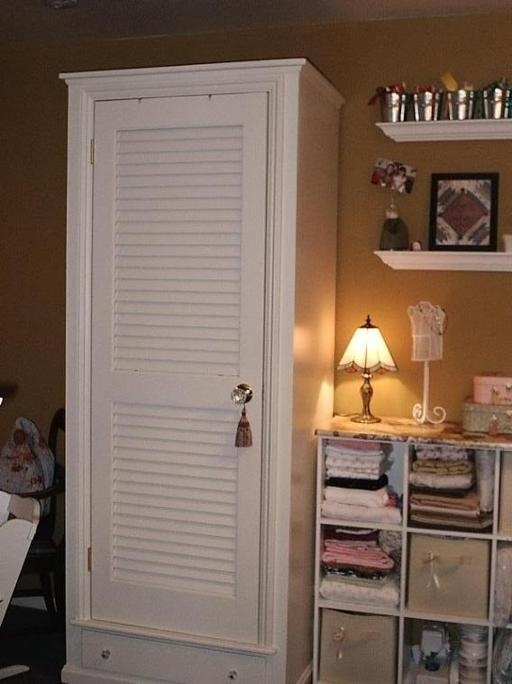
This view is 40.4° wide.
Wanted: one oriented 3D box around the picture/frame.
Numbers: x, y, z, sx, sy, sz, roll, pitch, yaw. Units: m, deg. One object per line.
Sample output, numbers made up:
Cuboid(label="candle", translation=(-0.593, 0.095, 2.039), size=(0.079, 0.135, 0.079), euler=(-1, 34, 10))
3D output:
Cuboid(label="picture/frame", translation=(0.802, -0.499, 2.663), size=(0.350, 0.414, 0.033), euler=(2, 4, 12))

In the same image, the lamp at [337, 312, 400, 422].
Cuboid(label="lamp", translation=(0.426, 0.104, 2.710), size=(0.222, 0.287, 0.310), euler=(1, 0, 9))
